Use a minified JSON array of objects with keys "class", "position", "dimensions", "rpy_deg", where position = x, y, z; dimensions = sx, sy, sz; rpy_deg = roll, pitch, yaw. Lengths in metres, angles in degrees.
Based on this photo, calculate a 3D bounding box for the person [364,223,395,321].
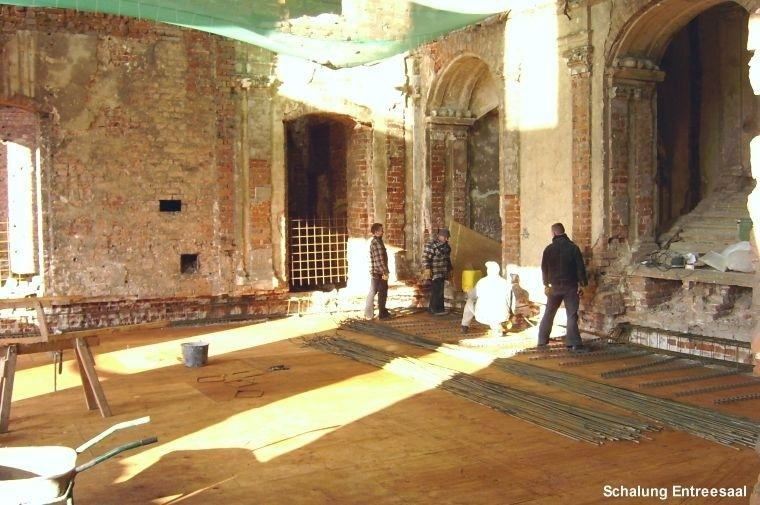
[{"class":"person","position":[-0.085,0.354,12.027],"dimensions":[0.472,1.786,0.410],"rpy_deg":[-2,10,-1]}]

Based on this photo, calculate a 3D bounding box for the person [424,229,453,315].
[{"class":"person","position":[1.115,0.367,12.255],"dimensions":[0.517,1.626,0.305],"rpy_deg":[-2,10,-5]}]

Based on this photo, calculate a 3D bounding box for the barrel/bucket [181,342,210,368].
[{"class":"barrel/bucket","position":[-2.764,1.510,9.342],"dimensions":[0.337,0.277,0.380],"rpy_deg":[-4,-6,42]}]

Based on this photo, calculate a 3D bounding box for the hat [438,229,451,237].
[{"class":"hat","position":[1.218,-0.376,12.131],"dimensions":[0.157,0.095,0.182],"rpy_deg":[7,-2,-7]}]

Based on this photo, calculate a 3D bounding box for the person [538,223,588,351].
[{"class":"person","position":[2.799,0.508,9.722],"dimensions":[0.700,1.862,0.632],"rpy_deg":[2,10,17]}]
